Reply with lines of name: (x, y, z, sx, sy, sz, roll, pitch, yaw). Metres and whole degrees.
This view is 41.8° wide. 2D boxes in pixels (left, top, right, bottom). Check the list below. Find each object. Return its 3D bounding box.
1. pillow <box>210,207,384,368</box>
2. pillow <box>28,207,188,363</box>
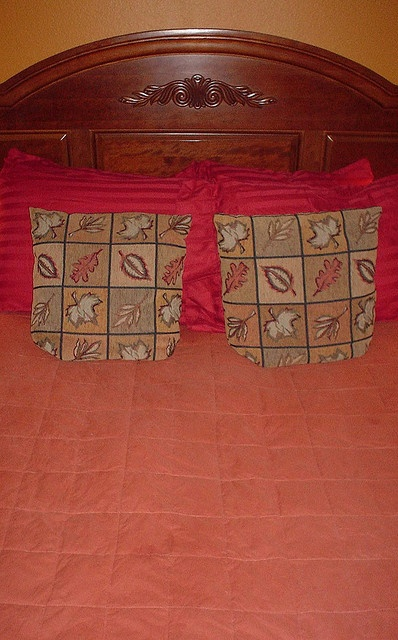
pillow: (0.245, -0.075, 1.268, 0.421, 0.373, 0.144, -3, 1, -2)
pillow: (-0.228, -0.078, 1.266, 0.400, 0.370, 0.126, 2, -2, 0)
